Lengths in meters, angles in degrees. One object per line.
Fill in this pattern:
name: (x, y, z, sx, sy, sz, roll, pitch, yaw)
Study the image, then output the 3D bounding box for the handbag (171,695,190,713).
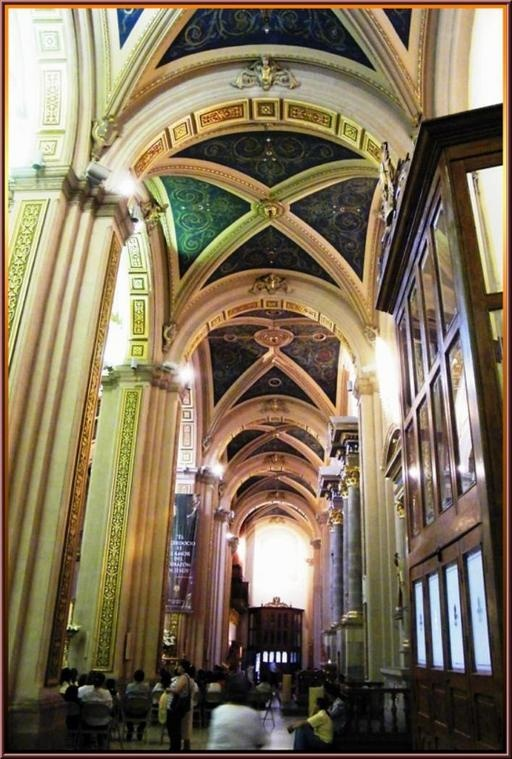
handbag: (-0.704, 3.031, 5.268, 0.075, 0.144, 0.151, -20, -40, 28)
